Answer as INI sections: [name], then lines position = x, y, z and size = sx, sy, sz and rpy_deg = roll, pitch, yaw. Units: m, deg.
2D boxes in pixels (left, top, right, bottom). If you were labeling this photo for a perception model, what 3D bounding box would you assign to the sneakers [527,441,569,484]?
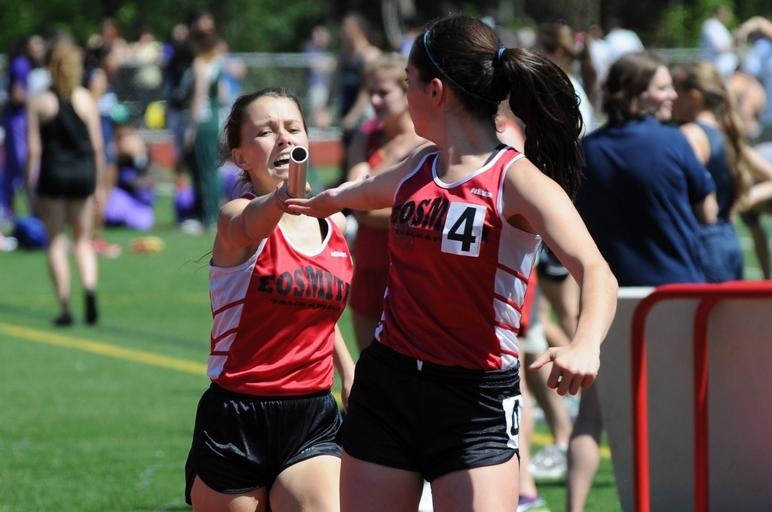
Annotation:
[sneakers]
position = 1.195, 1.503, 7.783
size = 0.360, 0.241, 0.175
rpy_deg = 0, 0, 7
